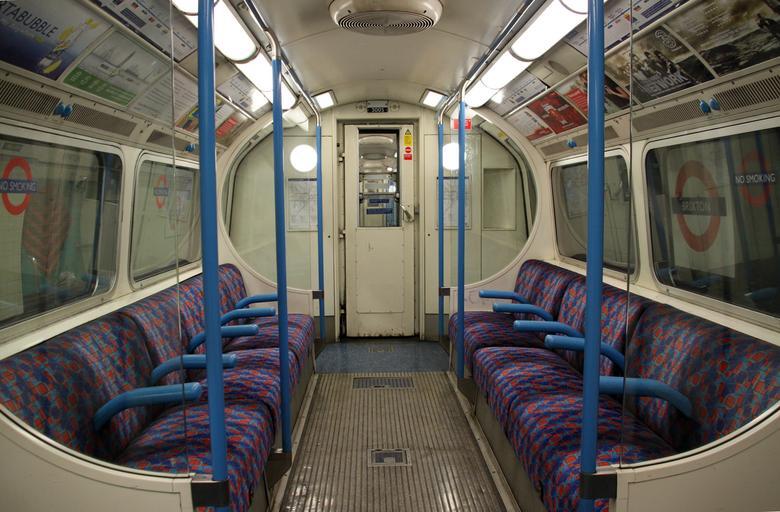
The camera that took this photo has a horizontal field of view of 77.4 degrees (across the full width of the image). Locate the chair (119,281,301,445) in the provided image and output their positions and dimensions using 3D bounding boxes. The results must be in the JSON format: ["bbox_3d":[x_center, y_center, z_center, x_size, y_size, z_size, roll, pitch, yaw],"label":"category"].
[{"bbox_3d":[-1.514,0.750,5.594,1.057,1.412,1.991,-9,2,-7],"label":"chair"}]

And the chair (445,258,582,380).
[{"bbox_3d":[1.394,0.324,5.650,1.036,1.330,1.873,3,0,-1],"label":"chair"}]

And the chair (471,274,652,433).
[{"bbox_3d":[1.541,0.975,5.122,0.779,0.812,1.817,-1,3,-5],"label":"chair"}]

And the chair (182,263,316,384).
[{"bbox_3d":[-1.479,0.999,5.615,0.917,1.215,1.727,0,7,-10],"label":"chair"}]
